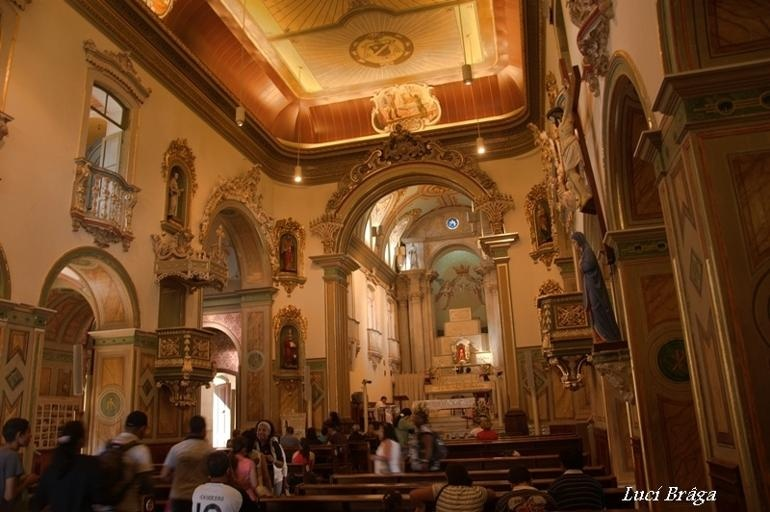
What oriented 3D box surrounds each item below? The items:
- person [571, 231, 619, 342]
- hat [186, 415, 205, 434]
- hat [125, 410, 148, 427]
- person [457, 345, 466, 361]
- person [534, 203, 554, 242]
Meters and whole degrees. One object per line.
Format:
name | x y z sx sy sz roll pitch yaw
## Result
person | 2.846 0.408 7.933 0.370 1.489 0.563 -13 -22 30
hat | -2.039 1.827 6.368 0.164 0.216 0.271 4 -20 -17
hat | -2.412 1.550 5.707 0.192 0.157 0.255 3 2 -8
person | 3.010 3.789 23.331 0.345 0.712 0.386 -4 -19 7
person | 4.205 -0.890 15.623 0.431 1.326 0.382 -12 -27 19
